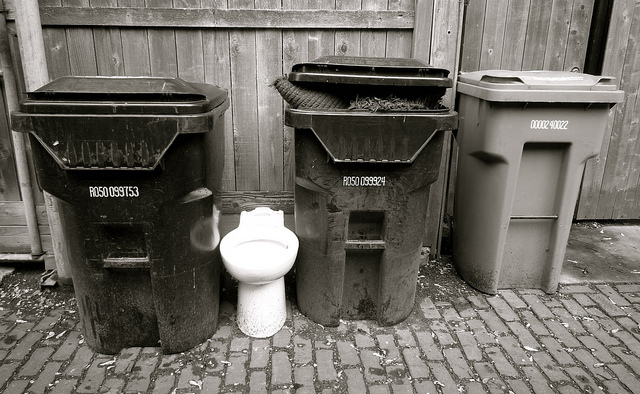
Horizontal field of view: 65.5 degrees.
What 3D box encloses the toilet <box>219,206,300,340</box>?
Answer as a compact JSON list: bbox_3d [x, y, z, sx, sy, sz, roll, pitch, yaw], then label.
[{"bbox_3d":[-0.590,0.748,4.906,0.751,1.022,1.005,1,24,0],"label":"toilet"}]
